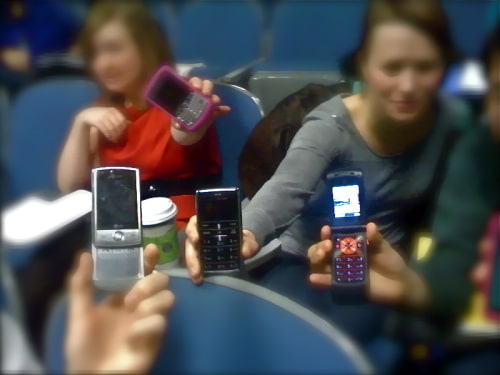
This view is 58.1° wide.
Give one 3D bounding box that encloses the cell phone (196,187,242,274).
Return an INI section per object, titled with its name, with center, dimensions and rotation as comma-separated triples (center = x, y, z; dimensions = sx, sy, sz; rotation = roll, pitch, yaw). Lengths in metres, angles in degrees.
[cell phone]
center = -0.057, 0.094, 0.862
dimensions = 0.087, 0.150, 0.121
rotation = -4, 27, -2

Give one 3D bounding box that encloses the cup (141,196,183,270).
[cup]
center = -0.181, 0.103, 0.899
dimensions = 0.087, 0.117, 0.087
rotation = -7, 9, 1

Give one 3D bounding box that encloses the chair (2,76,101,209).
[chair]
center = -0.413, -0.106, 0.954
dimensions = 0.217, 0.248, 0.236
rotation = -11, 28, -16
